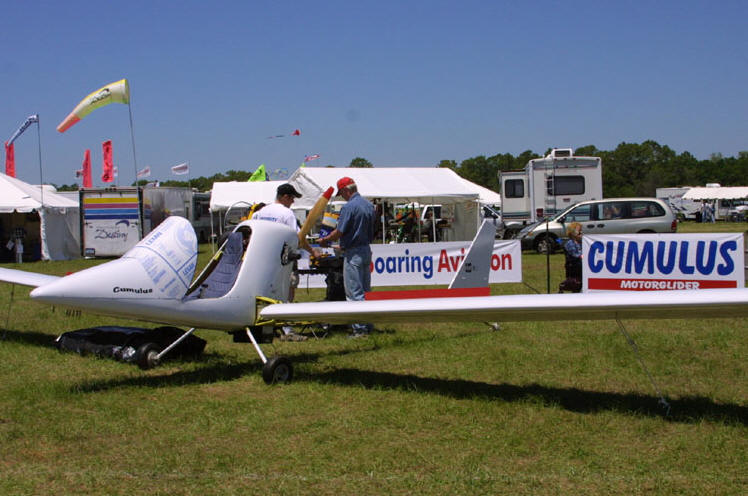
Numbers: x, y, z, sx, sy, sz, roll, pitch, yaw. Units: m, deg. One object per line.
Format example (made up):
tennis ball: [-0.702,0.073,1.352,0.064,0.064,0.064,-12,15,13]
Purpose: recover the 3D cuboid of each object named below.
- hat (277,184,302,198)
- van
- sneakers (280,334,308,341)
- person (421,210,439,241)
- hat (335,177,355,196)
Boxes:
hat: [-1.179,-0.792,11.669,0.341,0.176,0.217,-4,10,-11]
van: [6.206,-0.765,22.345,4.790,1.543,2.205,2,1,14]
sneakers: [-1.135,1.256,11.713,0.386,0.108,0.113,-1,8,-15]
person: [1.672,-0.560,25.247,0.629,0.585,1.048,0,-2,3]
hat: [-0.442,-0.851,11.512,0.216,0.171,0.292,-17,11,-42]
